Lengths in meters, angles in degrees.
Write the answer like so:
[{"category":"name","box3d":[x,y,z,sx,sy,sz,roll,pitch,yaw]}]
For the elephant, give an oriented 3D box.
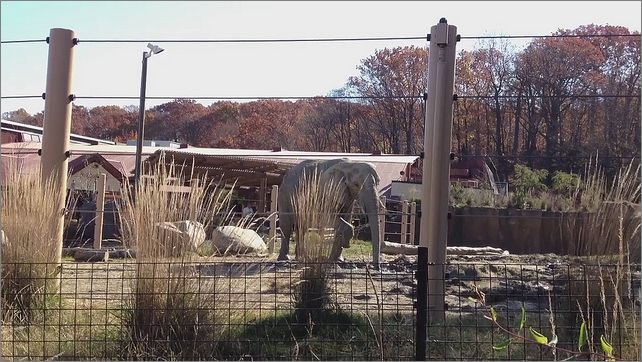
[{"category":"elephant","box3d":[0.164,0.869,22.334,3.117,2.492,1.561,-4,-7,36]}]
